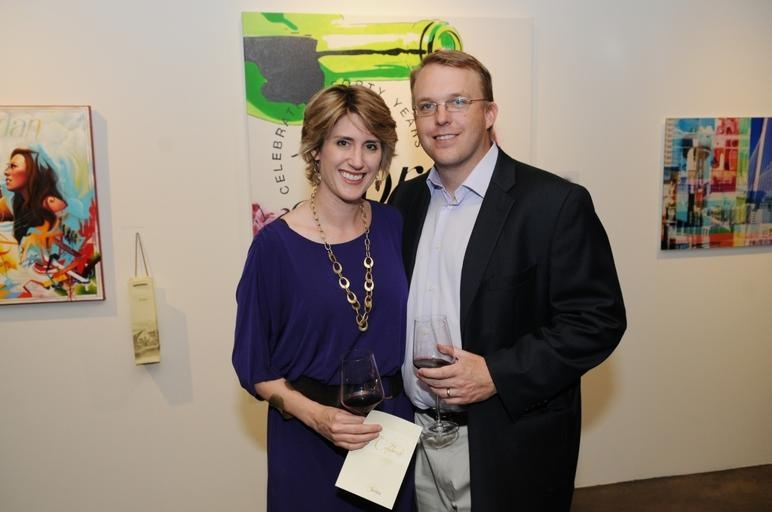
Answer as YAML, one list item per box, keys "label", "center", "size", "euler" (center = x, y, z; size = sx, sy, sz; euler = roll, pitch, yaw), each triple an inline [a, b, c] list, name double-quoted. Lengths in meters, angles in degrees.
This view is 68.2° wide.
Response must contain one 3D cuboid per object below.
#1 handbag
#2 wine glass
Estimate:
- label: "handbag"
  center: [-1.775, 0.322, 4.188]
  size: [0.188, 0.987, 0.190]
  euler: [-3, 9, -12]
- label: "wine glass"
  center: [0.265, 0.680, 3.014]
  size: [0.223, 0.753, 0.237]
  euler: [0, 9, 10]
